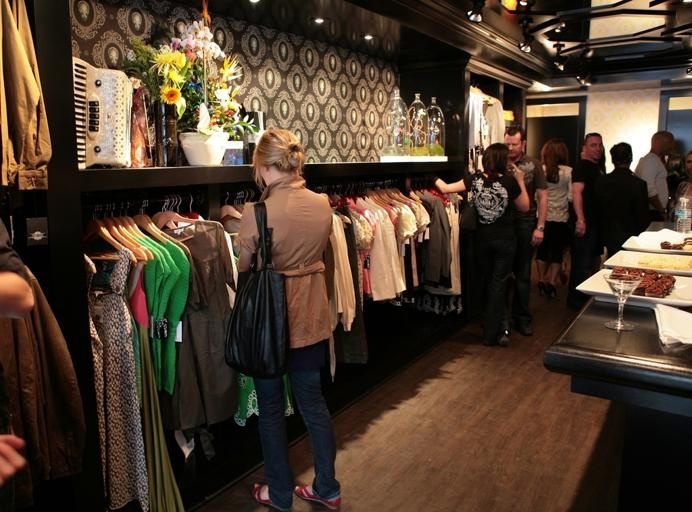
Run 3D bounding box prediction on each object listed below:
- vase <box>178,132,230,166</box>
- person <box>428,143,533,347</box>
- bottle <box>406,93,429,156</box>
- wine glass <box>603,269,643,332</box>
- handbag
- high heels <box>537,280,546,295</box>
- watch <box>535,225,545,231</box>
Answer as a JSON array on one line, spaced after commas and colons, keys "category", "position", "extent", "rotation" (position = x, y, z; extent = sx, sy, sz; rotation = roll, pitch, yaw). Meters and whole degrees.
[{"category": "vase", "position": [-0.803, -0.593, 2.853], "extent": [0.195, 0.143, 0.204], "rotation": [-1, 3, -21]}, {"category": "person", "position": [1.391, -0.087, 4.984], "extent": [0.676, 1.945, 0.343], "rotation": [2, 10, 18]}, {"category": "bottle", "position": [0.745, -1.401, 5.277], "extent": [0.206, 0.542, 0.410], "rotation": [0, 10, 9]}, {"category": "wine glass", "position": [1.271, 0.204, 2.354], "extent": [0.195, 0.291, 0.227], "rotation": [0, 0, 35]}, {"category": "handbag", "position": [-0.451, 0.162, 2.636], "extent": [0.310, 0.835, 0.177], "rotation": [-4, -7, 34]}, {"category": "high heels", "position": [2.640, 0.421, 6.922], "extent": [0.069, 0.243, 0.124], "rotation": [-6, 52, 28]}, {"category": "watch", "position": [2.135, -0.314, 5.653], "extent": [0.063, 0.054, 0.064], "rotation": [10, 39, 40]}]
